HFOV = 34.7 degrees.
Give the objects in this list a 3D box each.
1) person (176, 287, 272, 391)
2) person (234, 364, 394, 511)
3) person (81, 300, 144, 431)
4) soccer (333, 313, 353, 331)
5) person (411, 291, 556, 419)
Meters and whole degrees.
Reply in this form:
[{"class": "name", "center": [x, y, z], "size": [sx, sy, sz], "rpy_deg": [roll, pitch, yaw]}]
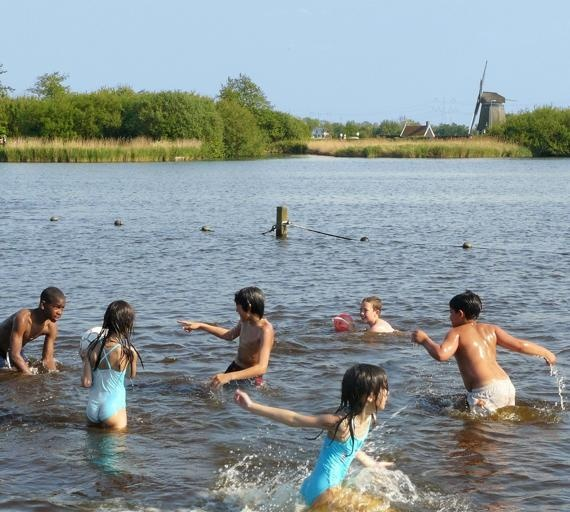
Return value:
[{"class": "person", "center": [-0.788, 1.127, 11.849], "size": [0.738, 1.553, 0.785], "rpy_deg": [9, 6, -29]}, {"class": "person", "center": [0.354, 1.639, 8.355], "size": [1.140, 1.311, 0.393], "rpy_deg": [1, 7, 6]}, {"class": "person", "center": [-1.887, 1.188, 9.842], "size": [0.567, 1.360, 0.303], "rpy_deg": [-1, 7, -10]}, {"class": "soccer", "center": [0.845, 0.950, 13.189], "size": [0.185, 0.265, 0.221], "rpy_deg": [14, 33, 9]}, {"class": "person", "center": [2.366, 1.569, 10.628], "size": [1.488, 2.266, 0.774], "rpy_deg": [-3, -9, -12]}]
